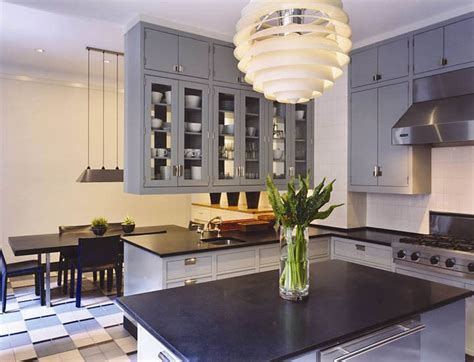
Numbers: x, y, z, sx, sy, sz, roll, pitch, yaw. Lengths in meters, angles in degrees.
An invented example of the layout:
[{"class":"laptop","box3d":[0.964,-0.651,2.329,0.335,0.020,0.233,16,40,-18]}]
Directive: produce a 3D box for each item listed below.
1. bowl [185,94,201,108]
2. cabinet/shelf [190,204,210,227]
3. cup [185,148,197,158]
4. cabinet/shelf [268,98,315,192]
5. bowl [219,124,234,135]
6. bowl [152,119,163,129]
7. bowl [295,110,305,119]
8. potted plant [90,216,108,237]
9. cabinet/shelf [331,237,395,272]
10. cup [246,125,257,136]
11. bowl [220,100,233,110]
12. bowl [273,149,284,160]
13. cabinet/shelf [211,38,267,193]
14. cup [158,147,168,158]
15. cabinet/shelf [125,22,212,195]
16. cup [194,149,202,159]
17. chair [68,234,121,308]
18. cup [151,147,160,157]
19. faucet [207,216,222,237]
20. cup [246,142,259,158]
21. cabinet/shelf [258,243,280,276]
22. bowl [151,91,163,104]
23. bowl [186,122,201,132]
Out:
[{"class":"bowl","box3d":[-0.493,-0.878,4.007,0.160,0.104,0.161,-1,-1,0]},{"class":"cabinet/shelf","box3d":[-0.724,0.630,7.243,0.151,0.363,0.965,-3,6,-21]},{"class":"cup","box3d":[-0.492,-0.314,3.977,0.082,0.076,0.108,0,4,-6]},{"class":"cabinet/shelf","box3d":[0.722,-0.504,4.662,0.575,1.050,0.296,3,6,34]},{"class":"bowl","box3d":[-0.127,-0.587,4.199,0.124,0.085,0.126,-2,-1,0]},{"class":"bowl","box3d":[-0.831,-0.601,3.802,0.095,0.069,0.095,-2,-6,0]},{"class":"bowl","box3d":[0.788,-0.860,4.769,0.124,0.100,0.129,-1,-6,0]},{"class":"potted plant","box3d":[-1.907,0.630,5.159,0.245,0.252,0.248,0,0,-33]},{"class":"cabinet/shelf","box3d":[1.459,0.687,4.185,0.315,0.520,0.549,1,-1,-37]},{"class":"cup","box3d":[0.162,-0.603,4.350,0.110,0.087,0.112,-2,-1,0]},{"class":"bowl","box3d":[-0.110,-0.871,4.226,0.155,0.118,0.026,-4,7,-29]},{"class":"bowl","box3d":[0.500,-0.338,4.519,0.104,0.094,0.129,0,0,-37]},{"class":"cabinet/shelf","box3d":[0.064,-0.724,4.256,0.667,1.578,0.393,11,30,17]},{"class":"cup","box3d":[-0.785,-0.297,3.831,0.066,0.095,0.104,-3,-4,44]},{"class":"cabinet/shelf","box3d":[-0.728,-0.756,3.955,0.964,1.753,0.404,-3,6,-22]},{"class":"cup","box3d":[-0.436,-0.305,4.028,0.084,0.086,0.095,2,-3,-42]},{"class":"chair","box3d":[-1.901,1.167,4.969,0.532,0.944,0.629,-2,5,-32]},{"class":"cup","box3d":[-0.854,-0.299,3.789,0.057,0.081,0.090,-6,-8,34]},{"class":"faucet","box3d":[-0.266,0.556,4.595,0.212,0.198,0.381,1,2,-14]},{"class":"cup","box3d":[0.176,-0.364,4.363,0.176,0.188,0.174,-1,-1,0]},{"class":"cabinet/shelf","box3d":[0.308,0.838,3.977,0.295,0.277,0.097,-4,6,-20]},{"class":"bowl","box3d":[-0.839,-0.868,3.831,0.111,0.091,0.111,-1,1,0]},{"class":"bowl","box3d":[-0.473,-0.587,4.006,0.109,0.064,0.110,-1,0,0]}]
